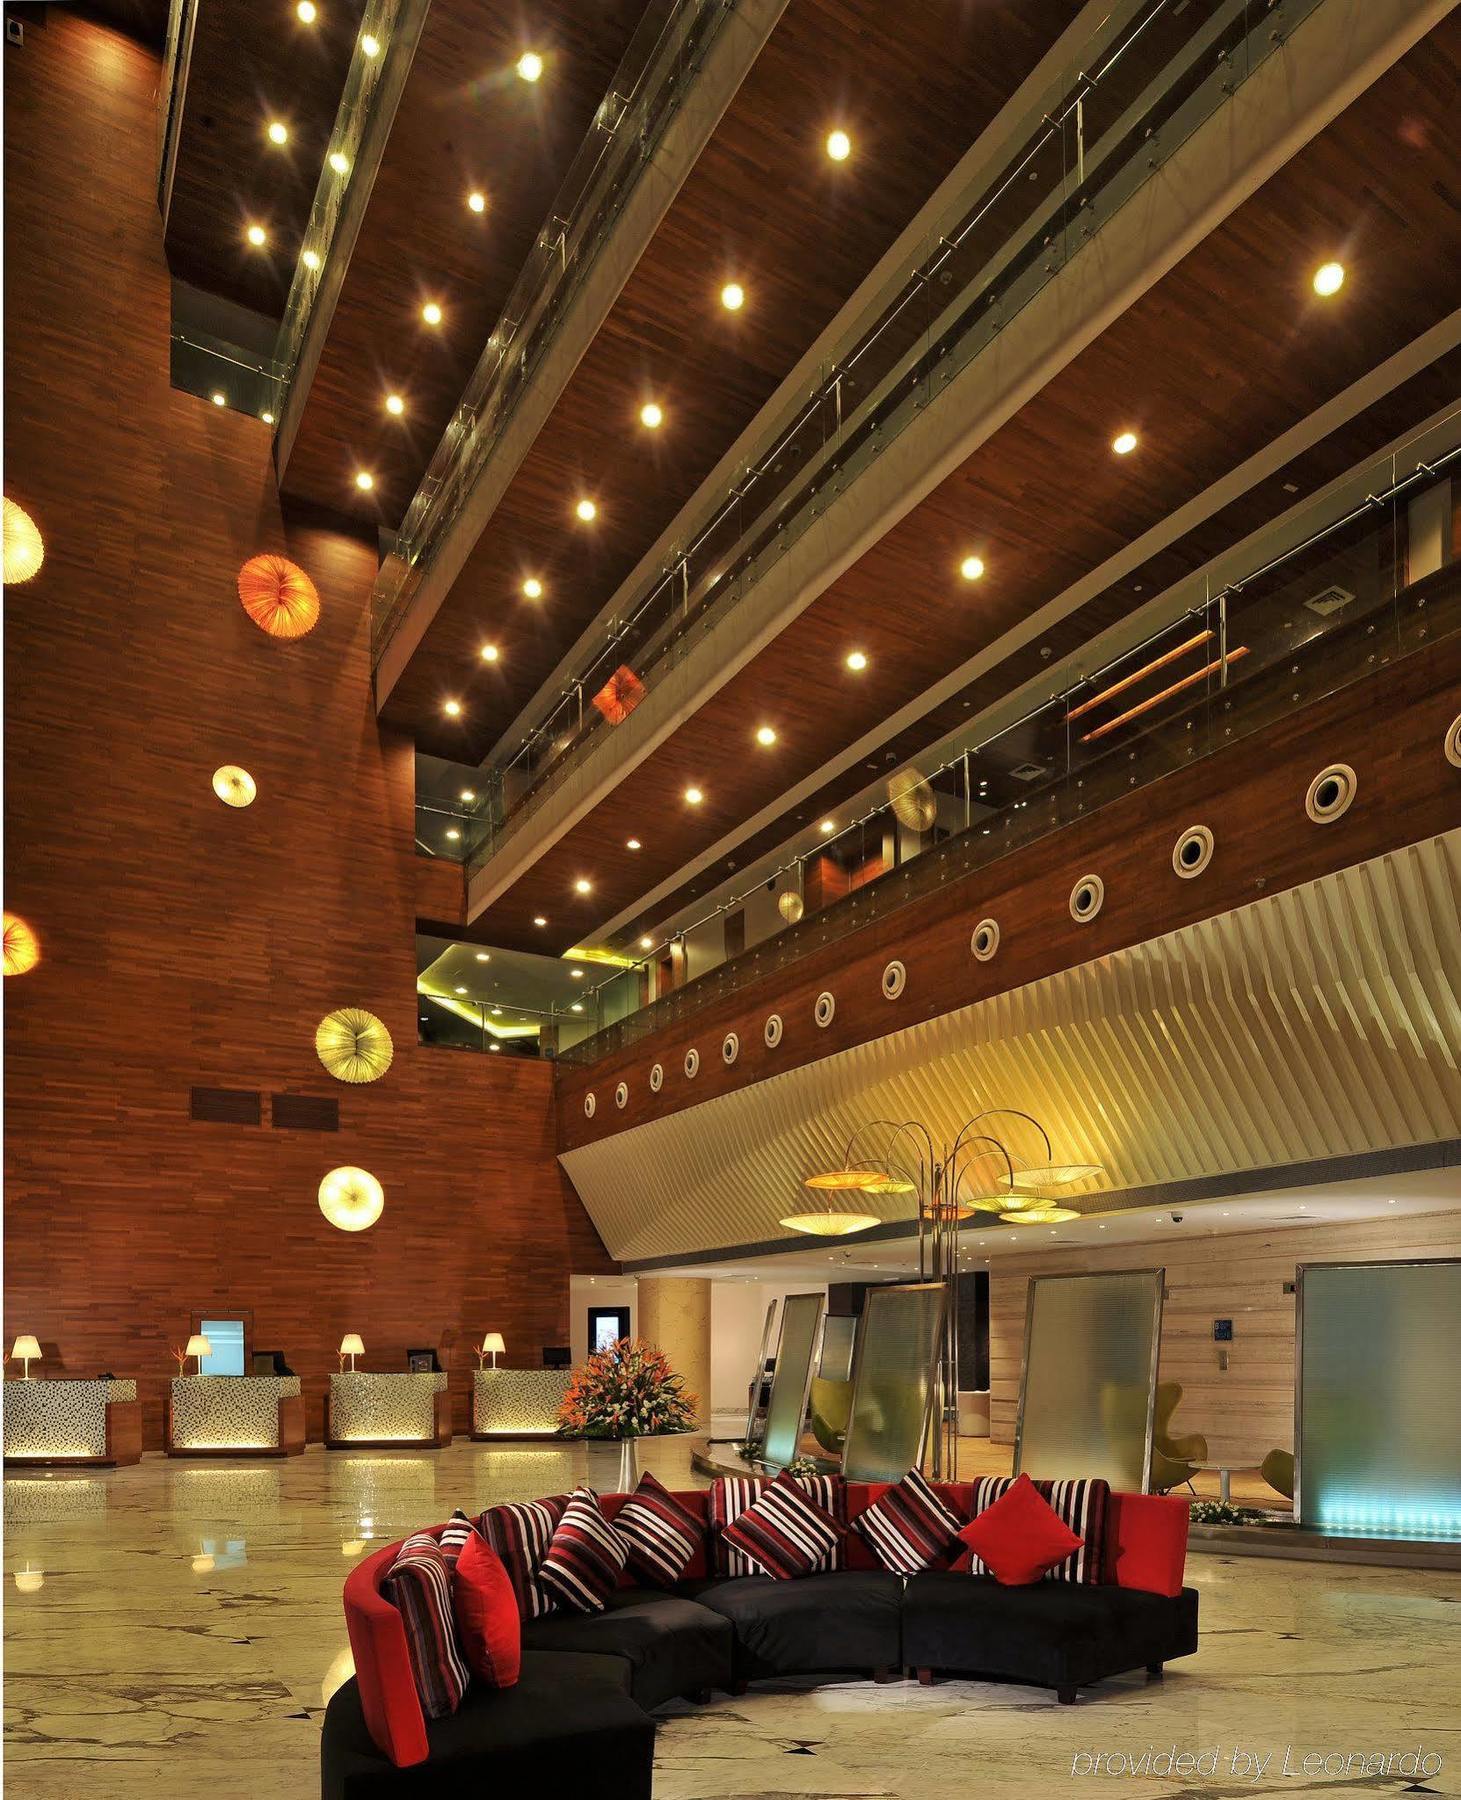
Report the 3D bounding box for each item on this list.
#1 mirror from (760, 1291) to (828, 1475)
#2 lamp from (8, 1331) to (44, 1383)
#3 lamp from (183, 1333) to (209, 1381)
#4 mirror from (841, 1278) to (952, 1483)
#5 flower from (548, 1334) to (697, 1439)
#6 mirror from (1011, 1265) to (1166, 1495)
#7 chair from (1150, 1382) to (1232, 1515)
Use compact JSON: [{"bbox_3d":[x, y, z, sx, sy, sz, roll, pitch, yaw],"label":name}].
[{"bbox_3d":[0.524,3.815,11.545,0.526,1.322,1.215,-3,-14,0],"label":"mirror"},{"bbox_3d":[-7.194,4.674,14.847,0.295,0.412,0.792,4,-16,-25],"label":"lamp"},{"bbox_3d":[-5.885,4.994,15.970,0.261,0.435,0.677,2,-15,-19],"label":"lamp"},{"bbox_3d":[1.080,3.094,9.389,0.493,1.194,1.133,4,-16,-25],"label":"mirror"},{"bbox_3d":[-1.001,4.990,14.579,1.061,0.990,1.017,8,-30,-19],"label":"flower"},{"bbox_3d":[2.112,2.775,8.496,0.629,1.134,1.402,0,-14,-11],"label":"mirror"},{"bbox_3d":[3.265,3.864,10.283,0.527,0.788,0.585,2,-15,-9],"label":"chair"}]
